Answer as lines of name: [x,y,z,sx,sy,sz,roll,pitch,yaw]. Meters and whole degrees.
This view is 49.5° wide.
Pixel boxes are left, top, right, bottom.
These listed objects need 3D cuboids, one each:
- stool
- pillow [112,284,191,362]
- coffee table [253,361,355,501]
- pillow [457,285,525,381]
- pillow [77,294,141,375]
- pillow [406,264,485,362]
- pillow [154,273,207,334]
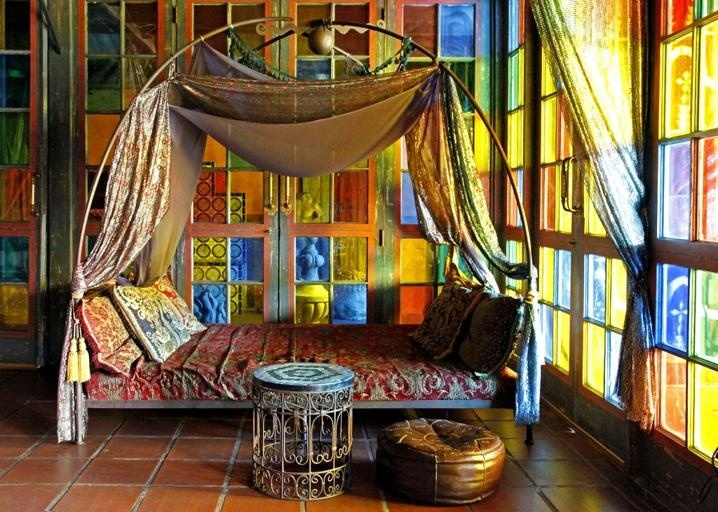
stool: [0.493,1.264,4.750,0.486,0.206,0.520,1,6,17]
pillow: [-1.532,0.474,5.690,0.122,0.498,0.522,-31,5,11]
coffee table: [-0.410,1.116,5.068,0.670,0.822,0.718,2,-5,-10]
pillow: [0.976,0.587,5.521,0.133,0.585,0.582,16,54,3]
pillow: [-1.729,0.544,5.489,0.375,0.500,0.423,2,14,8]
pillow: [0.621,0.443,5.801,0.119,0.532,0.540,22,16,-6]
pillow: [-1.438,0.439,6.303,0.109,0.427,0.428,-27,44,-4]
